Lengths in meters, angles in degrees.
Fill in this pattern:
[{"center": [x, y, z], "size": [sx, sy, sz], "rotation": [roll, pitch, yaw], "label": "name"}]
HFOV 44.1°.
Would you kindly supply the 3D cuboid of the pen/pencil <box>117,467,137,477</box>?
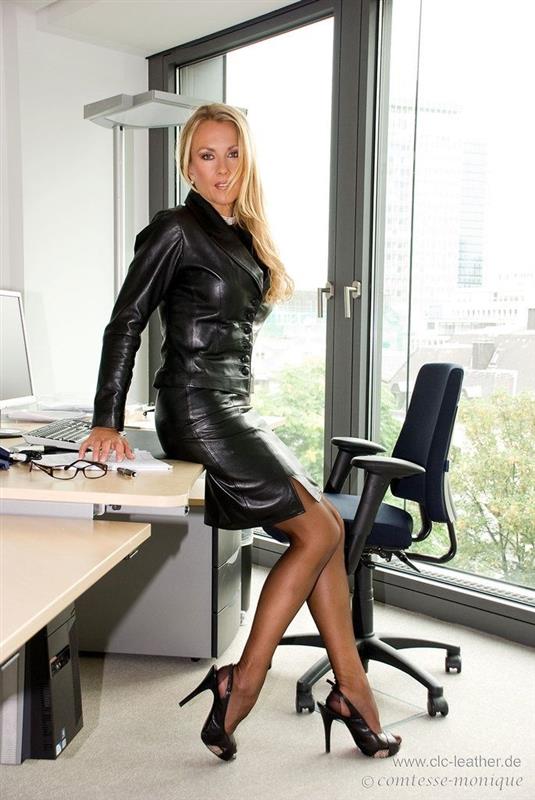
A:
[{"center": [-0.278, 0.139, 1.304], "size": [0.014, 0.014, 0.047], "rotation": [3, 6, -32], "label": "pen/pencil"}]
